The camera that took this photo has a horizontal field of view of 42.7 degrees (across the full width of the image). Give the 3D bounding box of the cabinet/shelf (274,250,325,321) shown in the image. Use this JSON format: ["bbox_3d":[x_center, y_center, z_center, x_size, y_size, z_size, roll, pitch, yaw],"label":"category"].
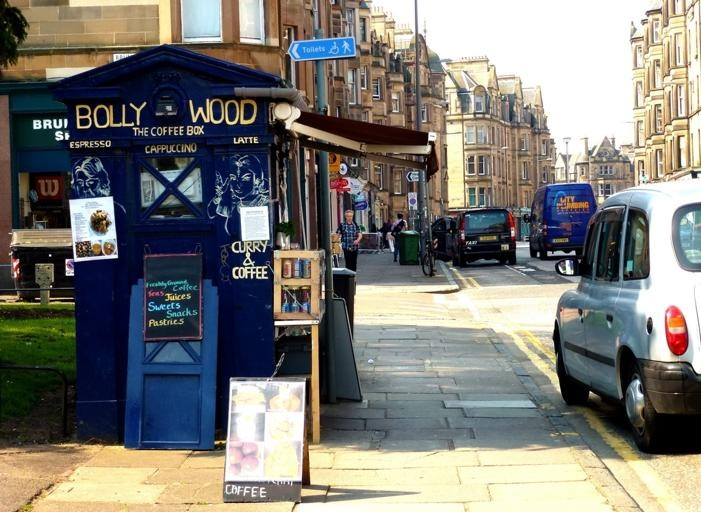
[{"bbox_3d":[-0.550,0.302,9.236,0.479,0.750,0.426,1,4,-42],"label":"cabinet/shelf"}]

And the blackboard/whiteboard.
[{"bbox_3d":[-1.751,0.454,8.932,0.769,1.118,0.050,-1,-11,-3],"label":"blackboard/whiteboard"}]

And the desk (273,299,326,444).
[{"bbox_3d":[-0.476,1.253,9.345,0.530,1.151,0.601,1,4,0],"label":"desk"}]

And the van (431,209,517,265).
[{"bbox_3d":[6.006,-0.860,35.538,3.695,2.492,5.318,-1,5,2],"label":"van"}]

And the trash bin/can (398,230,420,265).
[{"bbox_3d":[2.439,-0.321,36.876,0.830,1.353,1.282,-2,4,4],"label":"trash bin/can"}]

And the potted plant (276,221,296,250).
[{"bbox_3d":[-0.697,-0.223,9.885,0.237,0.460,0.258,0,6,6],"label":"potted plant"}]
